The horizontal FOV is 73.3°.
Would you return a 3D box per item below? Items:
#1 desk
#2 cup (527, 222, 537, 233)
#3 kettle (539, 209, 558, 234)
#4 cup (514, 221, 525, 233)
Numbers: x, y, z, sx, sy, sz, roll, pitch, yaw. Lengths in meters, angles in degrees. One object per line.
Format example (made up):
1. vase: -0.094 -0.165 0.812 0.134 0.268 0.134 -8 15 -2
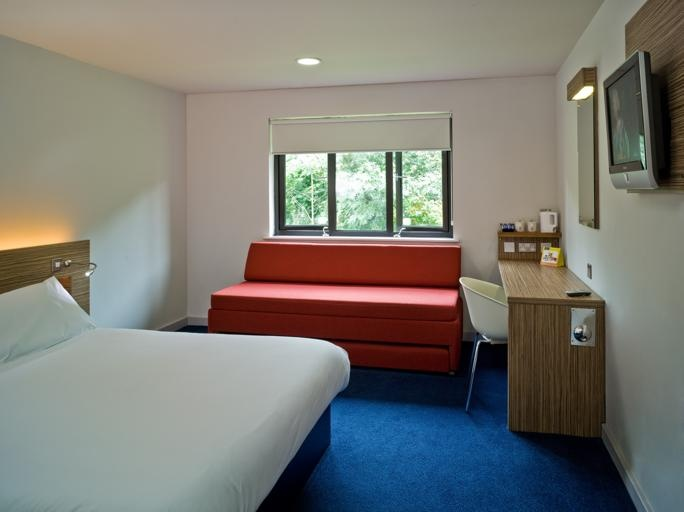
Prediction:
1. desk: 1.853 0.973 3.955 0.602 0.915 1.758 -9 -20 27
2. cup: 1.997 -0.297 4.845 0.077 0.112 0.108 0 7 -10
3. kettle: 2.138 -0.353 4.752 0.205 0.292 0.208 0 0 30
4. cup: 1.897 -0.314 4.946 0.098 0.111 0.104 -1 3 0
